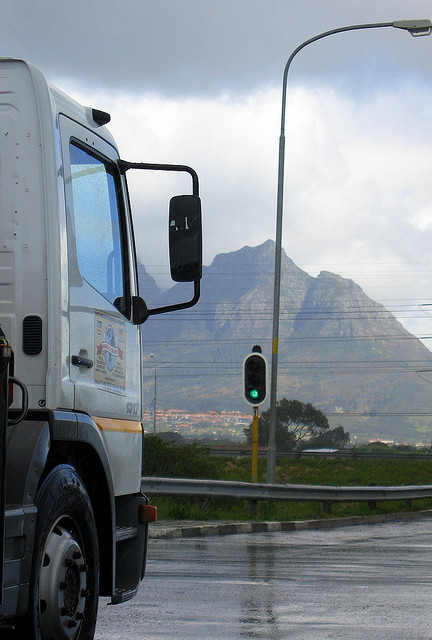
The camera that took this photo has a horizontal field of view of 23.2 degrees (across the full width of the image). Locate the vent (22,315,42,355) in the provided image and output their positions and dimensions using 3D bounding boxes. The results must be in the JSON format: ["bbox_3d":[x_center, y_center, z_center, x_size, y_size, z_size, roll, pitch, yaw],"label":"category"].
[{"bbox_3d":[-0.867,0.075,4.955,0.096,0.179,0.049,1,1,-4],"label":"vent"}]

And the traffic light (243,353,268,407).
[{"bbox_3d":[0.634,0.925,16.735,0.363,1.063,0.363,7,33,12],"label":"traffic light"}]
